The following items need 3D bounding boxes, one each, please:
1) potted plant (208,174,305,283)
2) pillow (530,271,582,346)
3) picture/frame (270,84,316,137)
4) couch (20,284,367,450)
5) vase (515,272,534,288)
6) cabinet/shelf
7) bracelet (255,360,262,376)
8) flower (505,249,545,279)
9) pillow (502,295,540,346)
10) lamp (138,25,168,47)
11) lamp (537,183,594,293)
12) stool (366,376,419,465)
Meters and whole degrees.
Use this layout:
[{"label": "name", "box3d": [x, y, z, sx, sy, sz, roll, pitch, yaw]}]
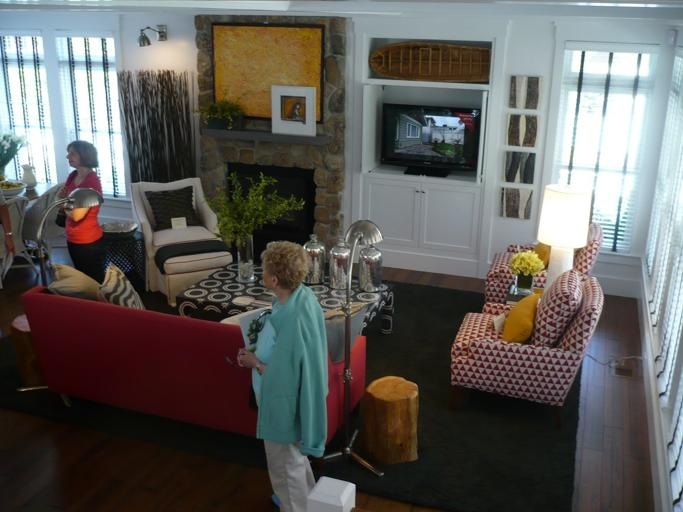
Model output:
[{"label": "potted plant", "box3d": [-0.879, -0.333, 5.326, 1.061, 1.247, 1.031, -1, 21, -8]}, {"label": "pillow", "box3d": [1.807, 0.411, 4.242, 0.317, 0.504, 0.723, 1, 15, 30]}, {"label": "picture/frame", "box3d": [-0.598, -1.885, 6.541, 0.661, 0.687, 0.044, 4, 17, 14]}, {"label": "couch", "box3d": [-1.379, 0.807, 4.116, 2.030, 0.984, 0.951, 5, 10, 19]}, {"label": "vase", "box3d": [1.766, 0.216, 4.982, 0.133, 0.198, 0.135, 0, 18, 8]}, {"label": "cabinet/shelf", "box3d": [1.112, -1.277, 6.754, 1.566, 2.873, 0.810, 6, 18, 16]}, {"label": "bracelet", "box3d": [-0.454, 0.615, 2.823, 0.052, 0.082, 0.072, -1, 24, -7]}, {"label": "flower", "box3d": [1.782, 0.070, 4.966, 0.270, 0.248, 0.275, -1, 14, -3]}, {"label": "pillow", "box3d": [1.505, 0.507, 4.300, 0.231, 0.213, 0.556, 5, 26, 23]}, {"label": "lamp", "box3d": [-2.596, -3.041, 6.993, 0.231, 0.309, 0.490, 12, 25, 26]}, {"label": "lamp", "box3d": [2.106, -0.145, 4.813, 0.446, 1.101, 0.441, -13, 23, -22]}, {"label": "stool", "box3d": [0.365, 1.169, 3.727, 0.431, 0.463, 0.394, -6, 12, -27]}]
